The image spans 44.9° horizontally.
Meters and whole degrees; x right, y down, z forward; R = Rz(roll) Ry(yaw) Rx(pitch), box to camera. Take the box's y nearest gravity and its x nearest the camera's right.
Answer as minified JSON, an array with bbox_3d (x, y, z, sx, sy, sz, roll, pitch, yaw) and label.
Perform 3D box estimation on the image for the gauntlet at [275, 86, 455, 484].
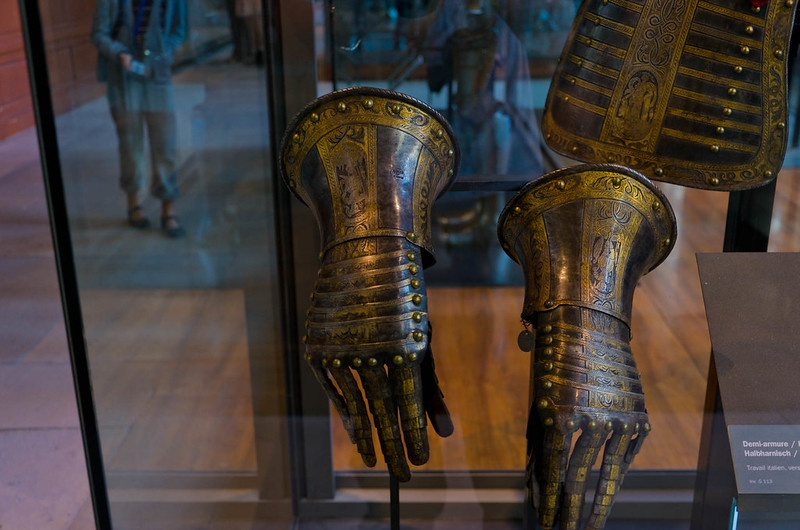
[{"bbox_3d":[-0.070,0.032,1.915,0.361,0.745,0.272,2,10,3],"label":"gauntlet"}]

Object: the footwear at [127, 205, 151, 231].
[{"bbox_3d":[-0.492,-0.085,1.812,0.018,0.052,0.015,-28,4,-32],"label":"footwear"}]
